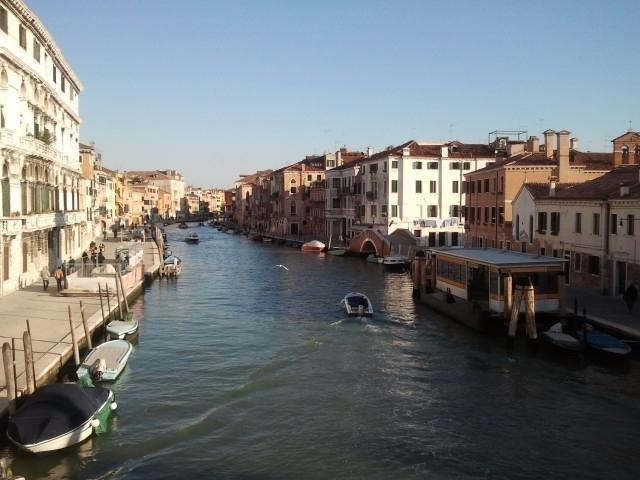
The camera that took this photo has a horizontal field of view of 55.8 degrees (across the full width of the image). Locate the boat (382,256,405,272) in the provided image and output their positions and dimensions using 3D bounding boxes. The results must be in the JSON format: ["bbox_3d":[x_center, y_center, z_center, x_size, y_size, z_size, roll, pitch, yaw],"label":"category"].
[{"bbox_3d":[8.960,2.784,70.776,2.716,1.381,2.694,1,9,12],"label":"boat"}]

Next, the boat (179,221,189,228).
[{"bbox_3d":[-44.715,-4.671,197.079,3.080,1.719,4.439,0,8,-11],"label":"boat"}]

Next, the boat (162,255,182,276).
[{"bbox_3d":[-16.173,2.899,66.192,1.296,1.268,4.368,1,7,-8],"label":"boat"}]

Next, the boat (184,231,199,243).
[{"bbox_3d":[-26.315,-0.321,124.756,2.310,2.273,6.400,-7,4,-17],"label":"boat"}]

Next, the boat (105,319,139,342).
[{"bbox_3d":[-11.892,5.474,36.173,1.658,0.978,2.078,2,9,17],"label":"boat"}]
